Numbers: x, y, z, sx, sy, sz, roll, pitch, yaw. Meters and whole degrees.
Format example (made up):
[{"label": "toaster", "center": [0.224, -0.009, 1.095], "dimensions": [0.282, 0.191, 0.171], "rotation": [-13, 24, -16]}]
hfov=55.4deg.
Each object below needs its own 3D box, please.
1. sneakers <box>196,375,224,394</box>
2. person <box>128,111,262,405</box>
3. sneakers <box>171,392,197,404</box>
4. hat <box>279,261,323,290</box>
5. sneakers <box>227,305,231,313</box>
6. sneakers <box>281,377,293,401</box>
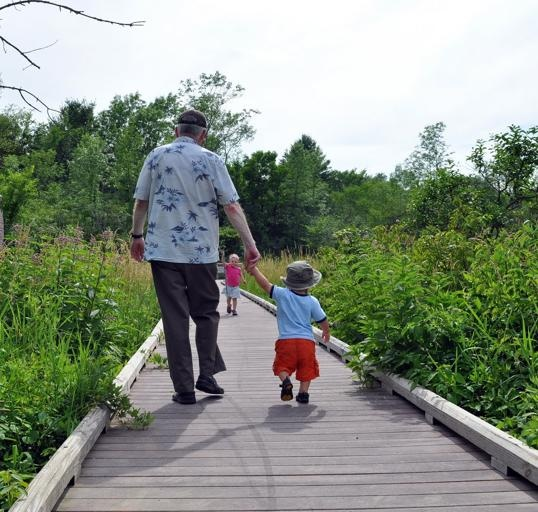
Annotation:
[{"label": "sneakers", "center": [-0.441, 0.960, 3.855], "dimensions": [0.097, 0.106, 0.254], "rotation": [4, -23, 38]}, {"label": "person", "center": [-0.568, -0.020, 3.794], "dimensions": [0.835, 2.170, 0.446], "rotation": [0, 0, -17]}, {"label": "sneakers", "center": [-0.629, 1.011, 3.711], "dimensions": [0.210, 0.096, 0.096], "rotation": [0, 0, 21]}, {"label": "hat", "center": [0.256, 0.159, 4.015], "dimensions": [0.250, 0.102, 0.227], "rotation": [-2, 41, 0]}, {"label": "sneakers", "center": [-0.812, 1.060, 10.370], "dimensions": [0.060, 0.173, 0.069], "rotation": [-1, 11, -4]}, {"label": "sneakers", "center": [0.126, 0.962, 3.704], "dimensions": [0.071, 0.126, 0.167], "rotation": [0, 0, -1]}]
